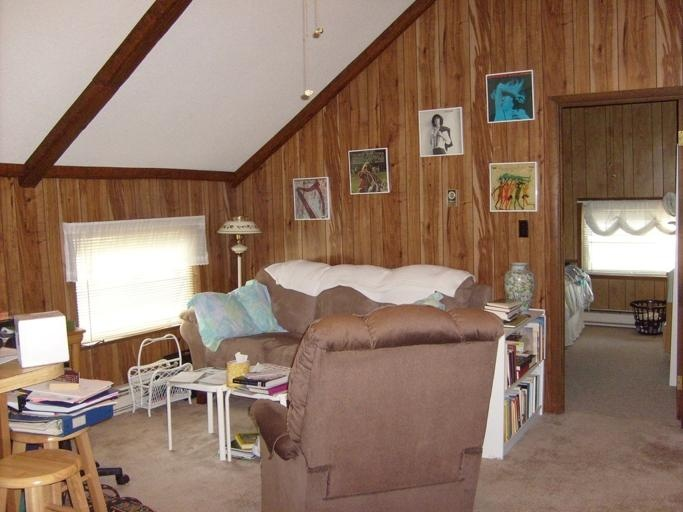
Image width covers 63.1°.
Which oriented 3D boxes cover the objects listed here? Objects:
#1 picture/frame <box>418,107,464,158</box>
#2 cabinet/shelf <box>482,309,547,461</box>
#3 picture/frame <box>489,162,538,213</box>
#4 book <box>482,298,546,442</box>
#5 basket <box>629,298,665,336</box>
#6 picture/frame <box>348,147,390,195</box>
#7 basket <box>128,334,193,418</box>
[{"bbox_3d":[0.952,-1.177,5.236,0.436,0.498,0.034,2,4,34],"label":"picture/frame"},{"bbox_3d":[1.256,0.954,4.077,0.369,1.036,1.035,0,5,20],"label":"cabinet/shelf"},{"bbox_3d":[1.549,-0.625,4.955,0.399,0.477,0.033,2,1,31],"label":"picture/frame"},{"bbox_3d":[1.276,0.852,4.134,0.363,1.004,0.979,-1,5,22],"label":"book"},{"bbox_3d":[4.149,0.789,7.550,0.417,0.381,0.447,-2,7,10],"label":"basket"},{"bbox_3d":[0.295,-0.870,5.605,0.437,0.490,0.044,1,3,38],"label":"picture/frame"},{"bbox_3d":[-1.660,1.108,5.078,0.372,0.836,0.591,4,5,31],"label":"basket"}]
